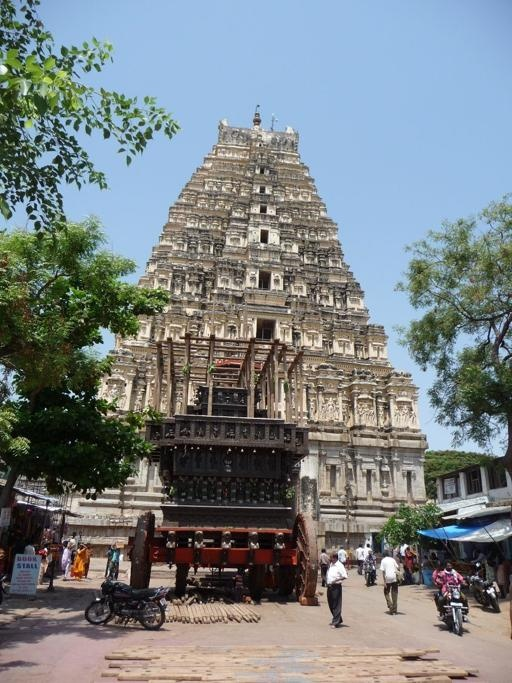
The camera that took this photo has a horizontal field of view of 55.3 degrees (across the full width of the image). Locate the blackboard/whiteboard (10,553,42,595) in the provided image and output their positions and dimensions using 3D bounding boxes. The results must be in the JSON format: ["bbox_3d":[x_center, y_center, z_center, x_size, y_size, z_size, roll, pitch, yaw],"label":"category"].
[{"bbox_3d":[-6.051,6.107,12.762,0.692,0.987,0.423,5,-21,-8],"label":"blackboard/whiteboard"}]

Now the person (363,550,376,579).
[{"bbox_3d":[5.004,9.739,21.366,0.604,1.302,0.766,-4,18,4],"label":"person"}]

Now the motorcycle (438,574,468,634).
[{"bbox_3d":[4.528,6.018,11.182,0.612,0.882,1.390,-1,-41,5],"label":"motorcycle"}]

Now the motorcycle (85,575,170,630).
[{"bbox_3d":[-2.778,5.329,9.973,1.979,1.061,0.854,3,-30,3],"label":"motorcycle"}]

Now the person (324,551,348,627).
[{"bbox_3d":[1.796,5.525,10.835,0.401,1.427,1.047,-1,-21,9],"label":"person"}]

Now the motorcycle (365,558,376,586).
[{"bbox_3d":[4.964,10.030,21.103,0.541,0.657,1.044,-4,-59,9],"label":"motorcycle"}]
